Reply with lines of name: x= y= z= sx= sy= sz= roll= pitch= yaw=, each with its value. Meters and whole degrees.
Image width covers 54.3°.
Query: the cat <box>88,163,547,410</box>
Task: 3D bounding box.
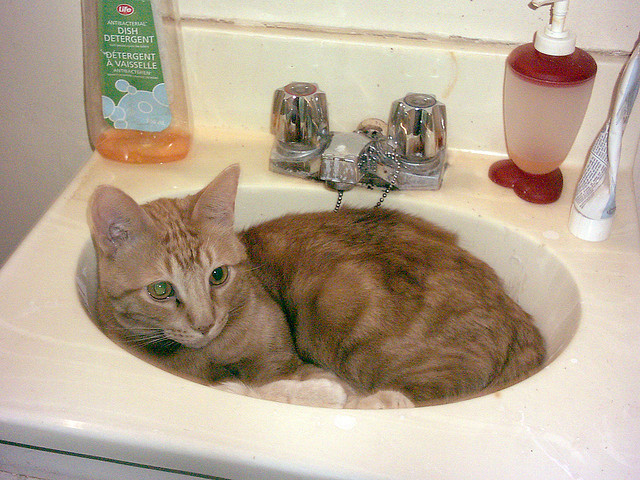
cat: x=0.008 y=0.051 z=0.790 sx=0.575 sy=0.266 sz=0.364 roll=-1 pitch=24 yaw=-15

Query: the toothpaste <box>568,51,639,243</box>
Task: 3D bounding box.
toothpaste: x=0.342 y=-0.106 z=0.731 sx=0.054 sy=0.210 sz=0.090 roll=14 pitch=39 yaw=20
